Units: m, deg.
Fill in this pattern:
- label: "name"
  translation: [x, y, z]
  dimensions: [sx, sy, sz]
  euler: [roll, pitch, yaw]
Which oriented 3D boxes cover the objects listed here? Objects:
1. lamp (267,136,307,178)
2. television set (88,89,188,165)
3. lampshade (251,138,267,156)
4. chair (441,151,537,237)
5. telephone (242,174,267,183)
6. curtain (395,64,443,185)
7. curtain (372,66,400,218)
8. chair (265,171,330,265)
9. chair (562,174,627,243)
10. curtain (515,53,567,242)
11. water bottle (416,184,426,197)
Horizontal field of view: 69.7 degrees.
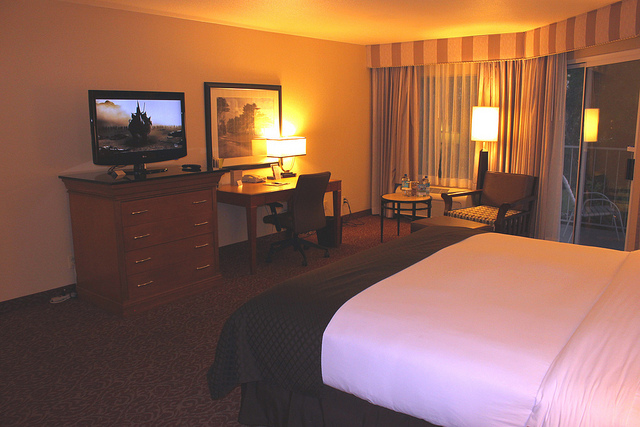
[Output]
- label: "lamp"
  translation: [-0.530, -0.852, 6.871]
  dimensions: [0.599, 0.690, 0.379]
  euler: [-10, 22, -29]
- label: "television set"
  translation: [-2.057, -0.960, 5.093]
  dimensions: [0.086, 0.647, 0.866]
  euler: [11, 14, 41]
- label: "lampshade"
  translation: [-0.927, -1.008, 6.885]
  dimensions: [0.119, 0.233, 0.242]
  euler: [5, 9, 32]
- label: "chair"
  translation: [2.402, 0.040, 6.519]
  dimensions: [0.998, 1.300, 1.090]
  euler: [10, 14, 43]
- label: "telephone"
  translation: [-0.947, -0.498, 6.590]
  dimensions: [0.334, 0.088, 0.189]
  euler: [-4, 15, -9]
- label: "curtain"
  translation: [1.740, -1.544, 8.086]
  dimensions: [0.784, 2.048, 0.328]
  euler: [2, 15, 13]
- label: "curtain"
  translation: [1.154, -1.283, 8.407]
  dimensions: [0.593, 2.668, 0.301]
  euler: [8, 17, 32]
- label: "chair"
  translation: [-0.347, -0.003, 6.442]
  dimensions: [0.846, 1.248, 0.873]
  euler: [-6, 16, -38]
- label: "chair"
  translation: [3.682, 0.016, 6.326]
  dimensions: [0.716, 1.056, 0.595]
  euler: [-1, 10, 22]
- label: "curtain"
  translation: [3.277, -0.967, 6.813]
  dimensions: [0.785, 2.657, 0.430]
  euler: [11, 19, 39]
- label: "water bottle"
  translation: [1.553, -0.353, 7.037]
  dimensions: [0.166, 0.236, 0.176]
  euler: [0, 2, 0]
